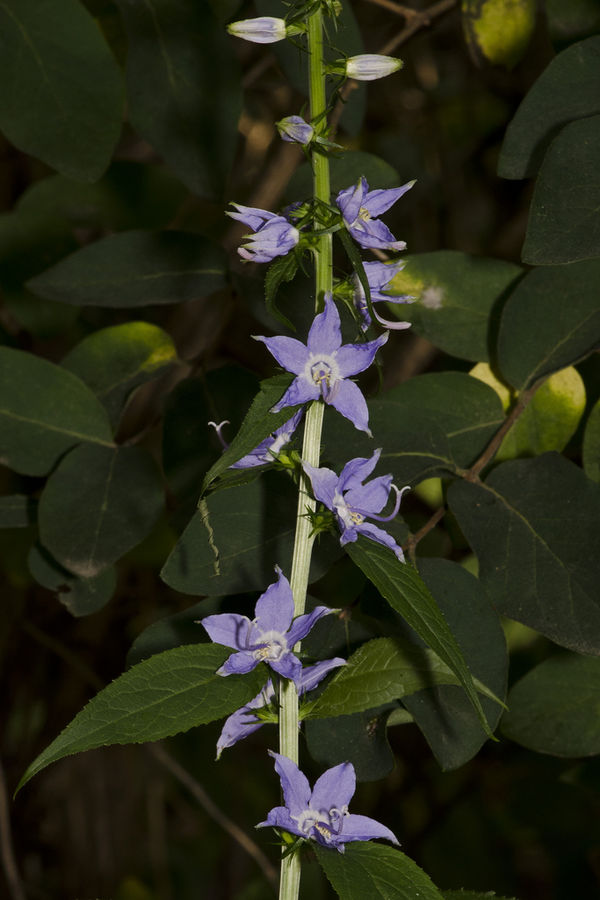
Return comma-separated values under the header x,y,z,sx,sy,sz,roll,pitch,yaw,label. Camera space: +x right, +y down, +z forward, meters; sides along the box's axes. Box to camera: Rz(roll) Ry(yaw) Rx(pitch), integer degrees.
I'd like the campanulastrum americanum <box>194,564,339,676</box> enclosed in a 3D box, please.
x,y,z,sx,sy,sz,roll,pitch,yaw,label
-0.023,0.133,0.762,0.097,0.042,0.081,33,96,39,campanulastrum americanum

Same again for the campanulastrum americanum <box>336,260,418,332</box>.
x,y,z,sx,sy,sz,roll,pitch,yaw,label
0.060,-0.114,0.760,0.026,0.062,0.057,-58,22,24,campanulastrum americanum

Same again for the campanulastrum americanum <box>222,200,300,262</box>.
x,y,z,sx,sy,sz,roll,pitch,yaw,label
-0.029,-0.169,0.752,0.032,0.049,0.045,-3,77,2,campanulastrum americanum

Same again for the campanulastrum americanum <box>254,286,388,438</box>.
x,y,z,sx,sy,sz,roll,pitch,yaw,label
0.016,-0.056,0.704,0.105,0.035,0.095,-10,83,-1,campanulastrum americanum

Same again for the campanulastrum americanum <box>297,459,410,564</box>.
x,y,z,sx,sy,sz,roll,pitch,yaw,label
0.046,0.026,0.719,0.062,0.037,0.070,-21,26,45,campanulastrum americanum

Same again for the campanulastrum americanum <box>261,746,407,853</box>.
x,y,z,sx,sy,sz,roll,pitch,yaw,label
0.024,0.260,0.710,0.090,0.075,0.062,6,73,15,campanulastrum americanum

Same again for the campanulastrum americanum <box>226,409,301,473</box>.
x,y,z,sx,sy,sz,roll,pitch,yaw,label
-0.022,0.001,0.748,0.078,0.021,0.010,-38,80,-26,campanulastrum americanum
